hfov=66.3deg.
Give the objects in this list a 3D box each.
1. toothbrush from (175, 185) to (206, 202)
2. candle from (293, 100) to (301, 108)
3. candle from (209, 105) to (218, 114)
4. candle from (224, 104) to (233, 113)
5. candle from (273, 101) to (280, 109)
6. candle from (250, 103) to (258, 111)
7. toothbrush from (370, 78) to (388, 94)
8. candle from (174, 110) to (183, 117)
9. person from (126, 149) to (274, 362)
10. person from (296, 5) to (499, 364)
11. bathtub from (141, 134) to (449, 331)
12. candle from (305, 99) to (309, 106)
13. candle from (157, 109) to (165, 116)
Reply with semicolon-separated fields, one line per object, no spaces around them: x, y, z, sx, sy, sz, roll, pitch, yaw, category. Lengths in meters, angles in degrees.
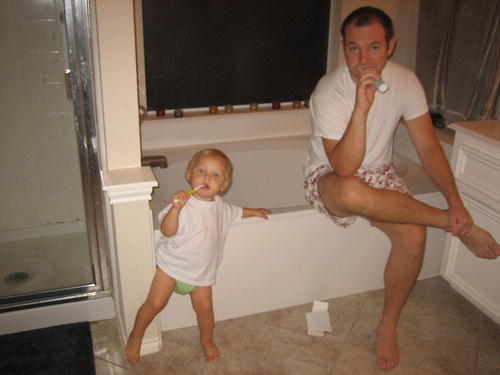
-0.221;0.032;1.450;0.071;0.050;0.143;6;27;11;toothbrush
0.349;-0.618;2.827;0.048;0.039;0.051;2;15;13;candle
-0.251;-0.542;2.654;0.049;0.053;0.052;2;-2;-44;candle
-0.151;-0.553;2.682;0.051;0.041;0.054;0;14;-1;candle
0.197;-0.601;2.789;0.042;0.045;0.044;-5;12;-25;candle
0.031;-0.578;2.743;0.057;0.047;0.058;2;26;2;candle
0.532;-0.421;1.585;0.041;0.050;0.170;-21;21;6;toothbrush
-0.481;-0.499;2.578;0.040;0.033;0.043;10;24;22;candle
-0.238;0.293;1.661;0.638;0.907;0.323;-2;24;-5;person
0.727;-0.135;1.977;0.886;1.438;1.267;2;25;4;person
-0.069;0.504;2.233;0.949;1.474;0.468;-3;36;-11;bathtub
0.430;-0.631;2.865;0.039;0.045;0.018;20;31;36;candle
-0.598;-0.502;2.572;0.038;0.042;0.041;4;15;19;candle
